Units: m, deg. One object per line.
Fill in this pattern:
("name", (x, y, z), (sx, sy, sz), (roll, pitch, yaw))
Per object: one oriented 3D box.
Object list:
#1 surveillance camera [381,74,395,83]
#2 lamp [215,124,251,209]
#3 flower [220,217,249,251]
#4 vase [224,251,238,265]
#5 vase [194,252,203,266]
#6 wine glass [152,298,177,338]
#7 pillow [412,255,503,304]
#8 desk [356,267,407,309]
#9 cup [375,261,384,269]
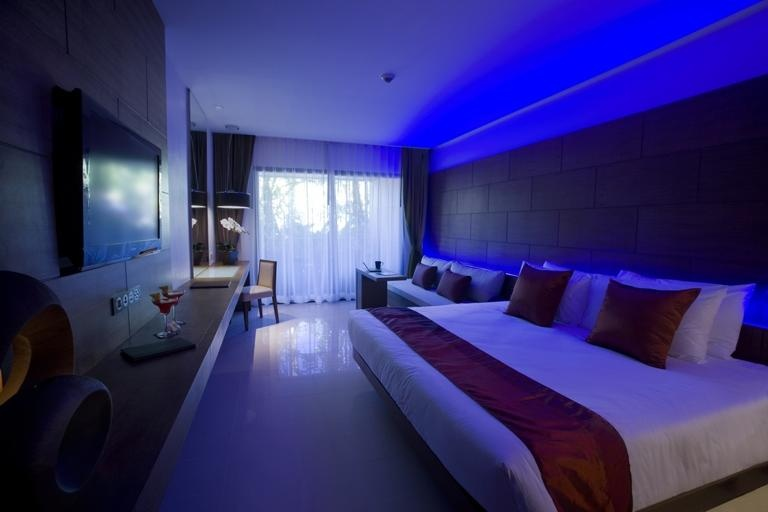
("surveillance camera", (0.039, -1.721, 4.414), (0.135, 0.061, 0.190), (0, 14, -3))
("lamp", (-1.989, -1.106, 6.121), (0.552, 1.042, 0.905), (-3, 14, -16))
("flower", (-1.967, -0.300, 6.154), (0.530, 0.209, 0.377), (28, 40, 33))
("vase", (-1.972, 0.026, 5.907), (0.137, 0.123, 0.143), (0, 5, 14))
("vase", (-2.151, 0.026, 5.303), (0.111, 0.155, 0.218), (-2, 6, -12))
("wine glass", (-1.498, 0.367, 3.115), (0.117, 0.278, 0.437), (-6, 16, -25))
("pillow", (0.973, 0.255, 5.591), (0.331, 0.398, 1.247), (-6, 16, -25))
("desk", (-0.059, 0.310, 6.064), (0.450, 0.712, 0.705), (-1, 5, -15))
("cup", (-0.078, 0.127, 6.218), (0.067, 0.104, 0.106), (-3, -6, 31))
